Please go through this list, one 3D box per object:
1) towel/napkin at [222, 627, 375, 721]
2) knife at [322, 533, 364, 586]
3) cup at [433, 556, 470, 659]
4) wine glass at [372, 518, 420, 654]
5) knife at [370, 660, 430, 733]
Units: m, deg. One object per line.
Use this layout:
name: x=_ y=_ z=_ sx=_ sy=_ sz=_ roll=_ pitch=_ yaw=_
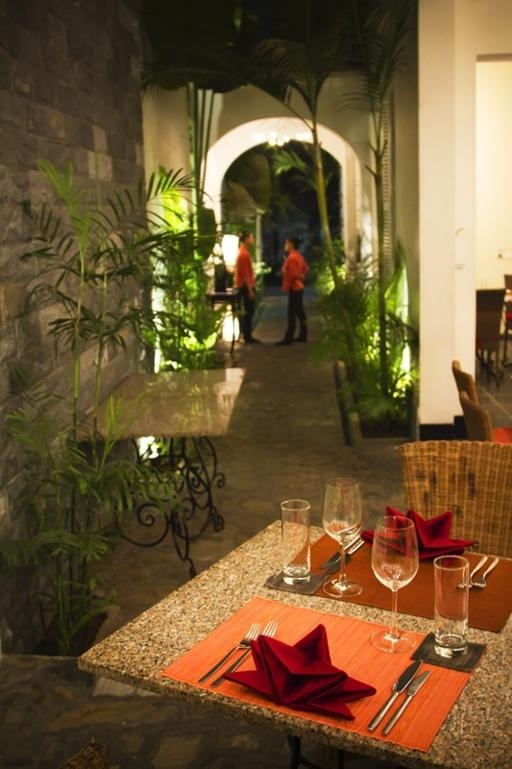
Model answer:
towel/napkin: x=0.063 y=0.385 z=0.846 sx=0.136 sy=0.061 sz=0.159 roll=-1 pitch=14 yaw=35
knife: x=0.193 y=0.376 z=1.334 sx=0.037 sy=0.008 sz=0.276 roll=4 pitch=4 yaw=20
cup: x=0.300 y=0.337 z=0.928 sx=0.056 sy=0.101 sz=0.120 roll=-5 pitch=2 yaw=15
wine glass: x=0.233 y=0.338 z=0.998 sx=0.095 sy=0.274 sz=0.109 roll=-2 pitch=15 yaw=6
knife: x=0.189 y=0.404 z=0.802 sx=0.032 sy=0.016 sz=0.205 roll=-8 pitch=9 yaw=28
